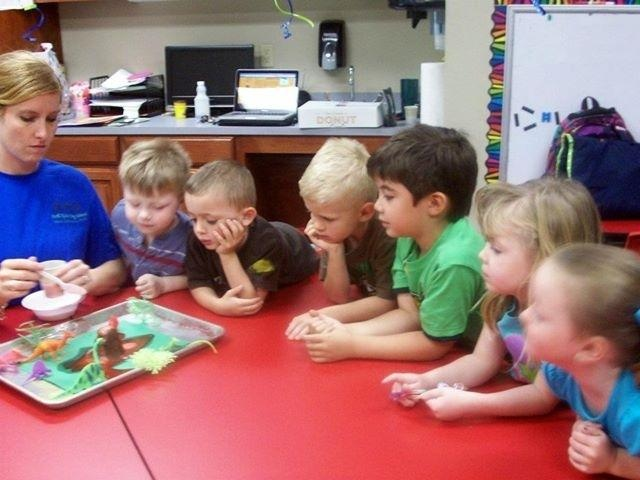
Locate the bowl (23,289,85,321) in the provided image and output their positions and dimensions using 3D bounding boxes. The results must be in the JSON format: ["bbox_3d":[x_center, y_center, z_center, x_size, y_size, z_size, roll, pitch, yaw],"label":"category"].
[{"bbox_3d":[-0.741,0.164,1.403,0.108,0.035,0.103,1,15,0],"label":"bowl"}]

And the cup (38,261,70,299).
[{"bbox_3d":[-0.745,0.108,1.470,0.071,0.096,0.108,1,10,-9],"label":"cup"}]

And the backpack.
[{"bbox_3d":[1.145,-0.430,2.356,0.347,0.424,0.424,3,12,5],"label":"backpack"}]

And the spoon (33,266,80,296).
[{"bbox_3d":[-0.716,0.124,1.403,0.117,0.107,0.064,1,-10,-44],"label":"spoon"}]

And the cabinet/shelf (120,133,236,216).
[{"bbox_3d":[-0.784,-0.462,3.243,0.624,0.312,0.393,-13,4,-7],"label":"cabinet/shelf"}]

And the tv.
[{"bbox_3d":[-0.728,-1.090,3.465,0.735,0.470,0.070,1,4,8],"label":"tv"}]

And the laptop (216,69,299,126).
[{"bbox_3d":[-0.368,-0.874,3.126,0.475,0.272,0.343,1,28,7],"label":"laptop"}]

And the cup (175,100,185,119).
[{"bbox_3d":[-0.934,-0.883,3.445,0.088,0.119,0.241,-6,16,-14],"label":"cup"}]

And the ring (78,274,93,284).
[{"bbox_3d":[-0.674,0.116,1.468,0.024,0.041,0.027,19,28,12],"label":"ring"}]
